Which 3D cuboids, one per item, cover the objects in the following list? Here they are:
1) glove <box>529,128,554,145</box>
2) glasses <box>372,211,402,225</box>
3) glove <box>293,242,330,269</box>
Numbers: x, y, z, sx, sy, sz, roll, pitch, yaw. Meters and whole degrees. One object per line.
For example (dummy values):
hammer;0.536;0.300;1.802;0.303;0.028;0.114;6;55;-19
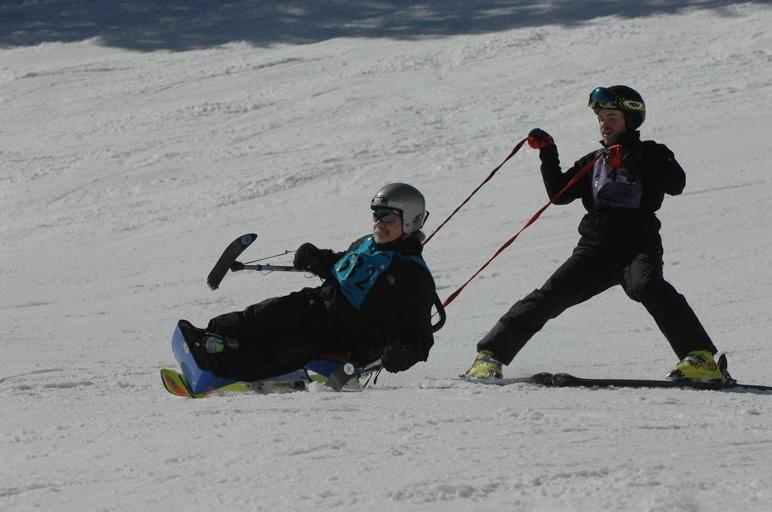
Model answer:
glove;2.380;-1.834;17.326;0.369;0.144;0.236;23;24;0
glasses;0.022;-0.565;16.611;0.416;0.179;0.120;-2;24;12
glove;-1.097;-0.026;16.931;0.545;0.304;0.466;-2;6;21
